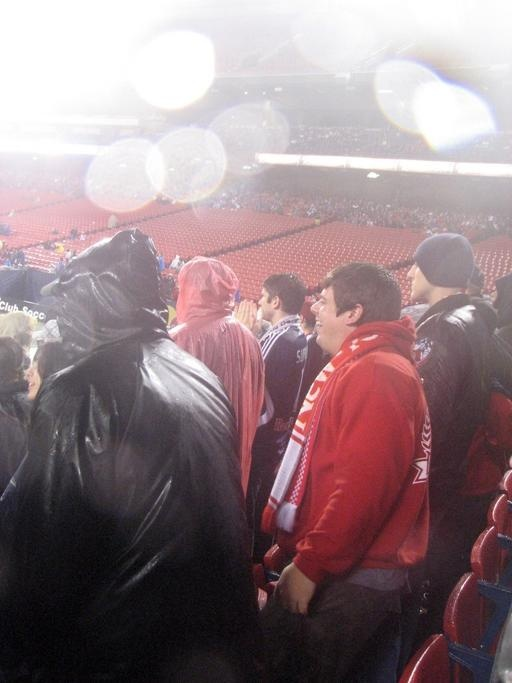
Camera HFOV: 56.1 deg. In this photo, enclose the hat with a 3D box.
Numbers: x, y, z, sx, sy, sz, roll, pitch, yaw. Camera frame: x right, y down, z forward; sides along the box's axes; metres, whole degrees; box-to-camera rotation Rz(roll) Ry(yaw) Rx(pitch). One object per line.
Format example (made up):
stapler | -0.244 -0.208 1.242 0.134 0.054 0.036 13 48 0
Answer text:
hat | 0.858 -0.372 2.259 0.193 0.256 0.268 -4 21 -38
